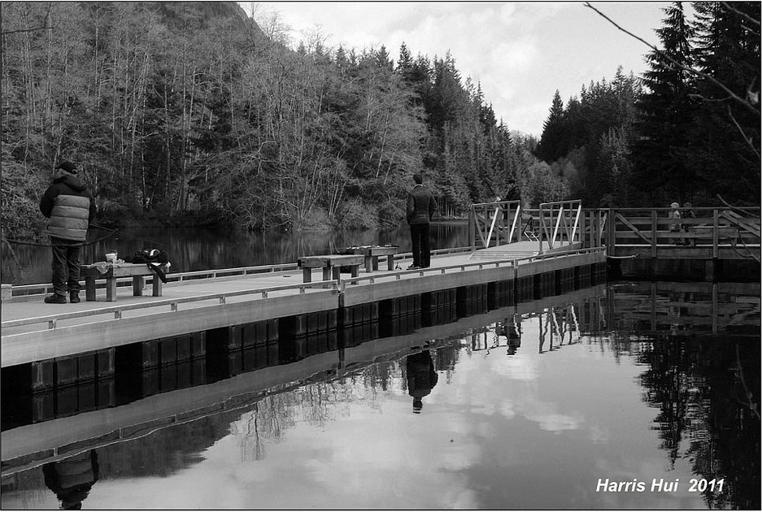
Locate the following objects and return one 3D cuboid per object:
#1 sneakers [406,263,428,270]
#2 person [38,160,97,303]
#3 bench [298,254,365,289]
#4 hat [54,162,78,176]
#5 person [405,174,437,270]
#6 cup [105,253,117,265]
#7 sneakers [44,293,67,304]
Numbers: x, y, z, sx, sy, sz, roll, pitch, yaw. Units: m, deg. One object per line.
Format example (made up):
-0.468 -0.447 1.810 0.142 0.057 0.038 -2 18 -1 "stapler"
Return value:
0.872 0.267 17.300 0.513 0.223 0.187 4 -3 -19 "sneakers"
-5.152 -0.369 11.787 0.799 2.367 1.028 -4 7 -30 "person"
-1.037 0.253 15.118 1.256 0.668 2.580 0 7 7 "bench"
-5.223 -1.470 11.893 0.249 0.276 0.351 8 12 16 "hat"
0.969 -0.823 17.237 0.628 2.261 0.892 0 6 8 "person"
-4.694 0.037 12.418 0.208 0.195 0.203 0 -5 0 "cup"
-5.520 0.689 12.061 0.418 0.186 0.166 9 8 33 "sneakers"
